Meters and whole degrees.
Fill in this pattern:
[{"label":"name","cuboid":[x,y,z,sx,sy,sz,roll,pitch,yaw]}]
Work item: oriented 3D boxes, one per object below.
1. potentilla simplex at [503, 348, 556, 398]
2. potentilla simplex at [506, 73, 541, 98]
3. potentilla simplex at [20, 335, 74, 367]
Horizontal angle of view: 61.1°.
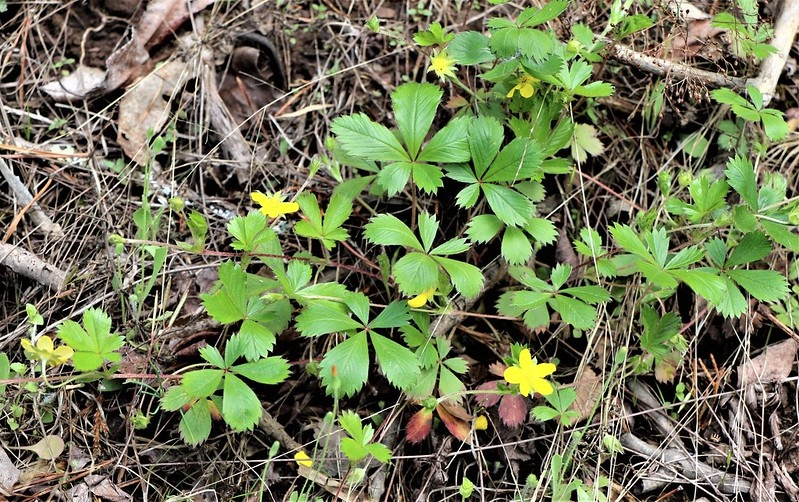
[{"label":"potentilla simplex","cuboid":[0.788,0.745,4.066,0.278,0.092,0.330,6,44,-8]},{"label":"potentilla simplex","cuboid":[0.823,-1.082,4.451,0.184,0.137,0.110,15,59,7]},{"label":"potentilla simplex","cuboid":[-2.095,0.633,4.021,0.244,0.244,0.130,37,101,26]}]
